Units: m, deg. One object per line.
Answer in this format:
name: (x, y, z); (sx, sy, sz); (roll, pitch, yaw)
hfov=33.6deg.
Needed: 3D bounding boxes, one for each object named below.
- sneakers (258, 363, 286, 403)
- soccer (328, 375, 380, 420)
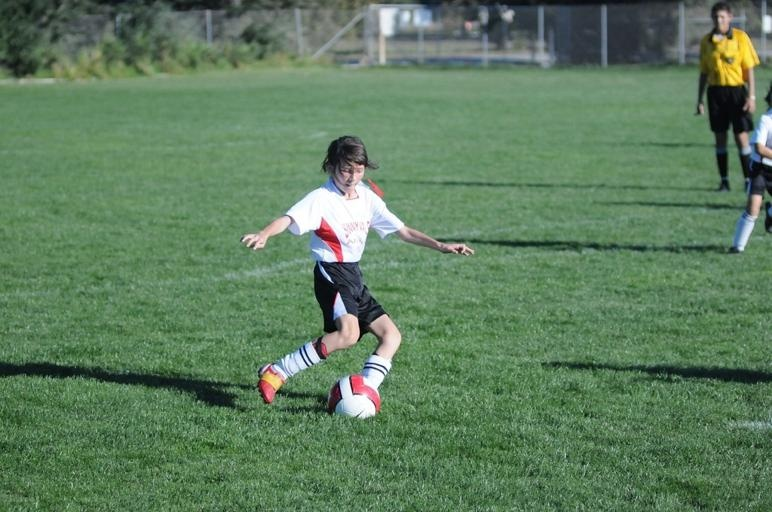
sneakers: (-1.468, 1.657, 16.409); (0.249, 0.252, 0.563); (-20, 40, 3)
soccer: (-0.420, 1.827, 16.393); (0.549, 0.581, 0.549); (-6, 34, -5)
